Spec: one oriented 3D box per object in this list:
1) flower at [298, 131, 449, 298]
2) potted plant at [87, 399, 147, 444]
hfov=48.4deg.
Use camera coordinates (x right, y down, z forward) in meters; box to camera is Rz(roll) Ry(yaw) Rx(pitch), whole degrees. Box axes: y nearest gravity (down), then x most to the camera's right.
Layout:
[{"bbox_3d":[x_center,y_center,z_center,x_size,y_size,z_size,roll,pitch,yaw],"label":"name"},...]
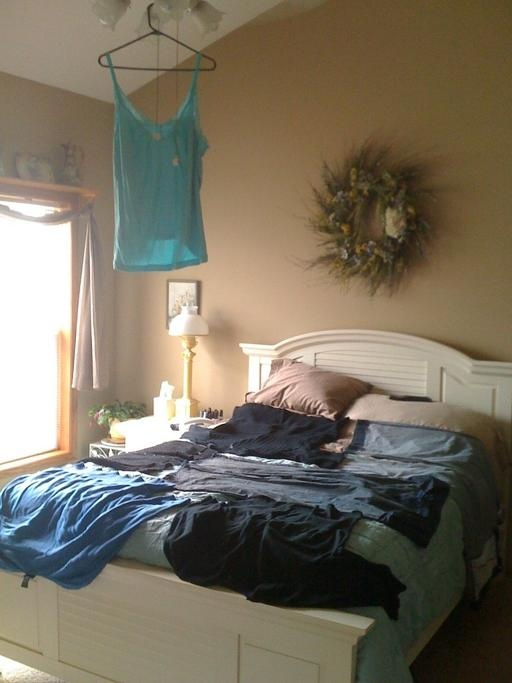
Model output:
[{"bbox_3d":[0.705,-0.712,3.278,0.251,0.776,0.756,5,-29,-40],"label":"flower"},{"bbox_3d":[-0.985,0.550,4.092,0.333,0.213,0.324,0,5,-10],"label":"potted plant"}]
